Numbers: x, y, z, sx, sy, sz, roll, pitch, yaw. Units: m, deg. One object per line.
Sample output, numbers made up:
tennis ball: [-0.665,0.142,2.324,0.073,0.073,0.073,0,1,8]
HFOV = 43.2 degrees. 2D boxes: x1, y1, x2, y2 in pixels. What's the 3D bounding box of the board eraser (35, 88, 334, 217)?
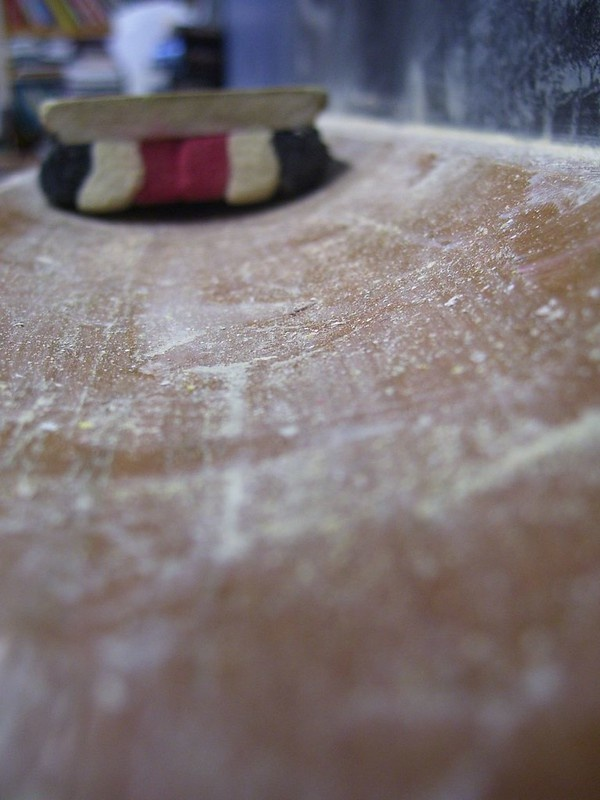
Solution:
board eraser: [-0.137,-0.299,0.886,0.234,0.076,0.168,-6,20,-2]
